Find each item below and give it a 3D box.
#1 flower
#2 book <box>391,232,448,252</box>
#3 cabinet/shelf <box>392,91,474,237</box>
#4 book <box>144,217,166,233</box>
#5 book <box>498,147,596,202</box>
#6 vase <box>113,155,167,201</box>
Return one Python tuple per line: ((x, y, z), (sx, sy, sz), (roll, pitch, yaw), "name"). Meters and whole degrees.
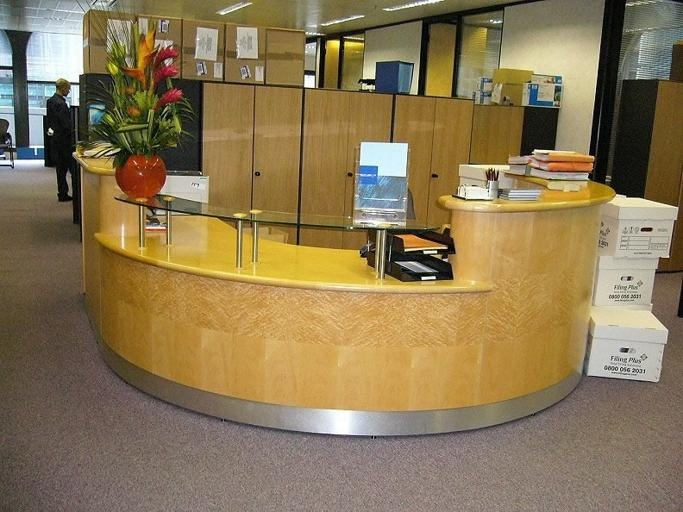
((-1.498, -1.027, 3.583), (0.714, 1.065, 0.794), (7, 22, -8), "flower")
((0.474, -0.084, 3.145), (0.336, 0.089, 0.126), (-1, 14, -8), "book")
((1.219, -1.313, 7.044), (1.095, 1.665, 0.371), (1, 14, 0), "cabinet/shelf")
((-1.430, -0.234, 3.940), (0.132, 0.032, 0.140), (-11, 30, -35), "book")
((1.631, -0.690, 4.095), (0.639, 0.283, 0.590), (6, 15, 20), "book")
((-1.397, -0.545, 3.629), (0.312, 0.273, 0.325), (1, 8, -2), "vase")
